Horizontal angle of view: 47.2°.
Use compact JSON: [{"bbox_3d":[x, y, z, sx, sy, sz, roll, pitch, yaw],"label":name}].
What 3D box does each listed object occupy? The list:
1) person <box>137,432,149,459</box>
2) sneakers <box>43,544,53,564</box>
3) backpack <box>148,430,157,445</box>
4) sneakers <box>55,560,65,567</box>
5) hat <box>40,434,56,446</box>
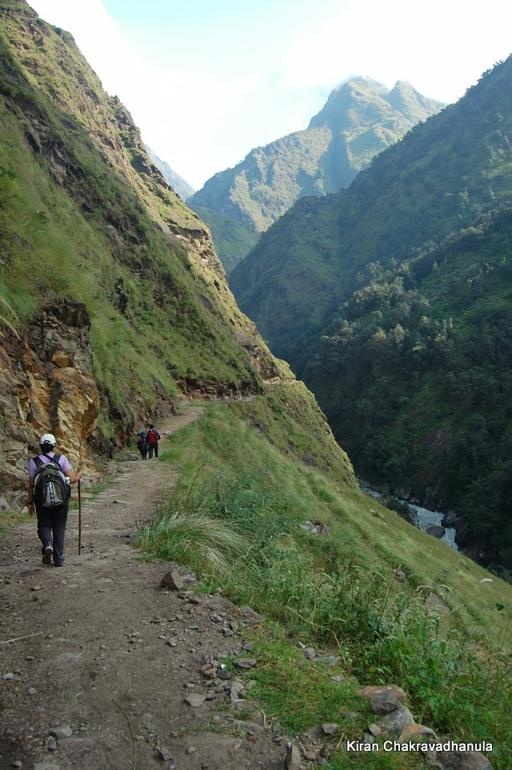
[{"bbox_3d":[-3.339,1.790,17.396,0.329,0.797,0.804,9,0,-9],"label":"person"},{"bbox_3d":[-2.342,1.910,6.608,0.108,0.242,0.111,3,10,-20],"label":"sneakers"},{"bbox_3d":[-3.054,1.550,17.308,0.216,0.386,0.361,9,0,6],"label":"backpack"},{"bbox_3d":[-2.219,2.028,6.665,0.040,0.080,0.116,0,5,22],"label":"sneakers"},{"bbox_3d":[-2.488,0.654,7.026,0.163,0.087,0.245,5,7,-20],"label":"hat"}]
